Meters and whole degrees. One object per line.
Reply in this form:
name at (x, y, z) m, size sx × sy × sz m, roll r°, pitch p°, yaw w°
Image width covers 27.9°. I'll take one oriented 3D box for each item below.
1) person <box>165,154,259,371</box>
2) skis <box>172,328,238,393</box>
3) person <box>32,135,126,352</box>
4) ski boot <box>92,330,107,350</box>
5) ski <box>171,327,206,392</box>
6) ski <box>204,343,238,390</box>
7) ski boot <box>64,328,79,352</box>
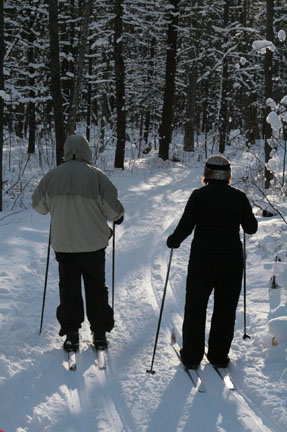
person at (0.683, 0.504, 5.834) m, size 0.775 × 2.171 × 0.371 m, roll 3°, pitch 12°, yaw 5°
skis at (0.537, 1.565, 6.089) m, size 0.232 × 0.139 × 0.888 m, roll -3°, pitch 32°, yaw -11°
person at (-0.685, 0.448, 6.191) m, size 0.890 × 2.019 × 0.352 m, roll 1°, pitch 12°, yaw -4°
ski boot at (-0.481, 1.359, 6.333) m, size 0.183 × 0.334 × 0.165 m, roll 1°, pitch -8°, yaw -8°
ski at (0.422, 1.525, 6.191) m, size 0.114 × 0.181 × 1.244 m, roll -5°, pitch 25°, yaw -10°
ski at (0.807, 1.570, 5.899) m, size 0.062 × 0.049 × 0.627 m, roll -3°, pitch 15°, yaw -8°
ski boot at (-0.781, 1.352, 6.261) m, size 0.161 × 0.221 × 0.130 m, roll 0°, pitch 13°, yaw -10°
